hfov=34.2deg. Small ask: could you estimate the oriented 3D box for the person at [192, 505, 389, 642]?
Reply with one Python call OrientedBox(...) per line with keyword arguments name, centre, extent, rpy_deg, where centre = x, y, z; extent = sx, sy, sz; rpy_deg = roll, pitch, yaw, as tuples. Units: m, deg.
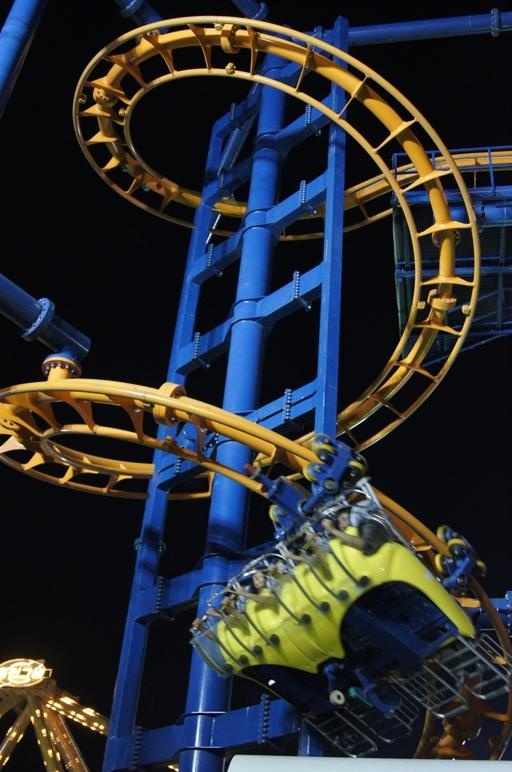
OrientedBox(name="person", centre=(0.393, 1.875, 7.697), extent=(1.757, 1.142, 0.655), rpy_deg=(-39, -58, 21))
